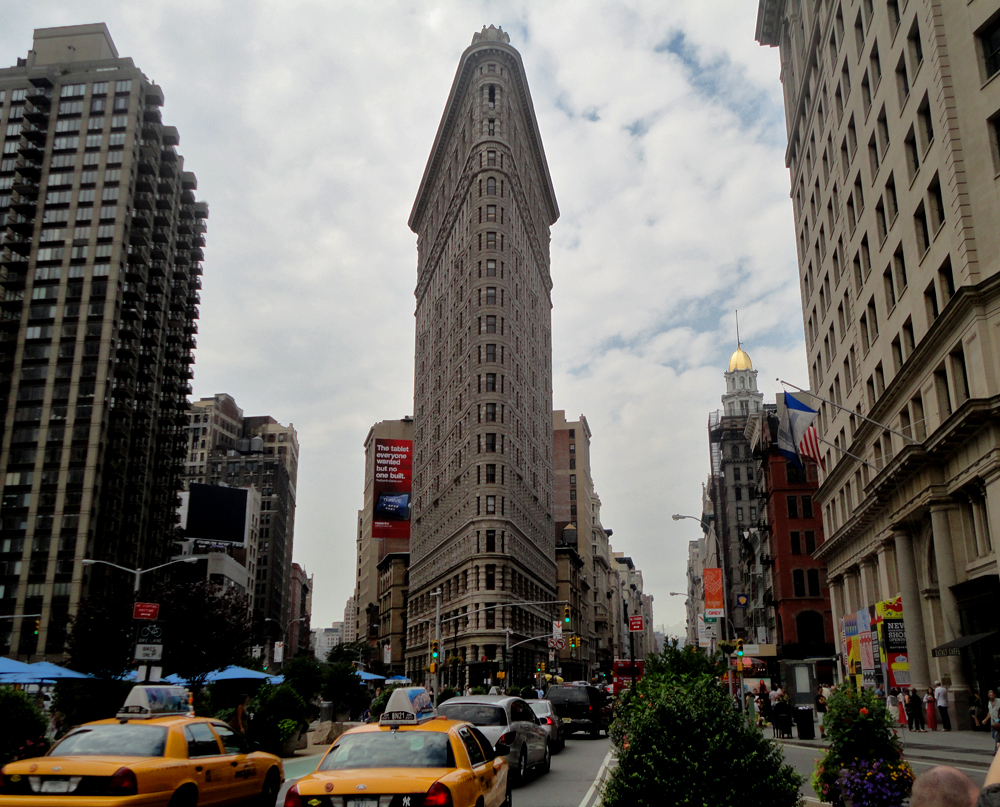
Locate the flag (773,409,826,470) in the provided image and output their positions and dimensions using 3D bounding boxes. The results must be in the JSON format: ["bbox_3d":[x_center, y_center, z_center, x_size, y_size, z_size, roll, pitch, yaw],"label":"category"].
[{"bbox_3d":[15.920,1.799,48.653,1.230,4.083,5.138,-6,-12,39],"label":"flag"}]

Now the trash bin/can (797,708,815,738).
[{"bbox_3d":[12.340,12.974,37.346,0.689,1.125,1.115,-7,-23,15],"label":"trash bin/can"}]

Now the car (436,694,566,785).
[{"bbox_3d":[0.119,8.458,22.881,1.891,1.544,4.461,-3,-14,11],"label":"car"}]

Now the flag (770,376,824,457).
[{"bbox_3d":[13.170,1.052,40.497,1.808,4.421,0.477,-7,-38,22],"label":"flag"}]
